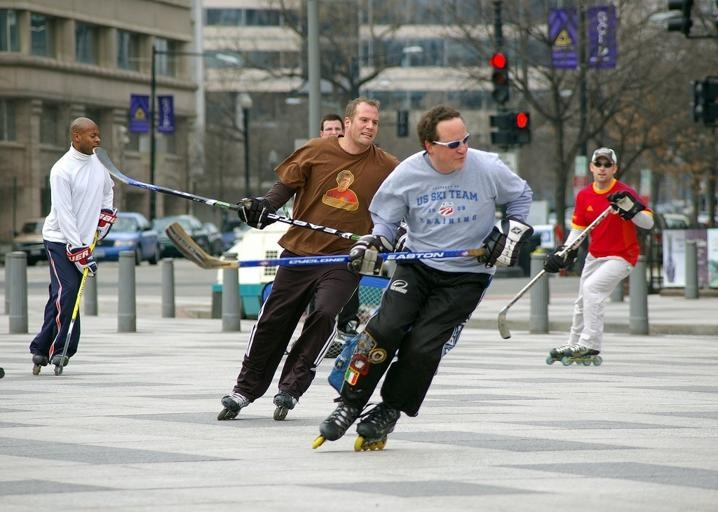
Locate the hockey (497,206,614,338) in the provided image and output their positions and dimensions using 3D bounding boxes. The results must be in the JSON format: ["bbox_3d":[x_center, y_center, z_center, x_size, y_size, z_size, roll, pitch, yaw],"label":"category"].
[{"bbox_3d":[2.643,0.284,19.555,0.445,2.834,0.313,25,27,-34],"label":"hockey"}]

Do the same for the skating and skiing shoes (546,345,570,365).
[{"bbox_3d":[2.184,1.089,16.169,0.359,0.176,0.121,-5,9,-6],"label":"skating and skiing shoes"}]

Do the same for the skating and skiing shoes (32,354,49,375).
[{"bbox_3d":[-3.343,1.124,15.107,0.165,0.198,0.200,7,-16,-12],"label":"skating and skiing shoes"}]

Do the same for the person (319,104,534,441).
[{"bbox_3d":[0.546,0.205,11.917,1.611,2.682,0.983,6,5,-5],"label":"person"}]

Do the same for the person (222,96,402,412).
[{"bbox_3d":[-0.441,0.010,12.982,1.476,2.936,1.048,13,0,5],"label":"person"}]

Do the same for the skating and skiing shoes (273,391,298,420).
[{"bbox_3d":[-0.661,1.309,12.869,0.208,0.254,0.292,1,1,-4],"label":"skating and skiing shoes"}]

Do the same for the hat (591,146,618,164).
[{"bbox_3d":[2.733,-1.133,16.262,0.252,0.172,0.259,1,1,4],"label":"hat"}]

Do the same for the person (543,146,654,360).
[{"bbox_3d":[2.688,0.000,16.137,1.239,2.397,1.461,1,-1,-4],"label":"person"}]

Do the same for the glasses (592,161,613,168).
[{"bbox_3d":[2.718,-1.035,16.194,0.202,0.077,0.060,1,1,7],"label":"glasses"}]

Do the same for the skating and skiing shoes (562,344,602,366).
[{"bbox_3d":[2.560,1.109,16.126,0.591,0.231,0.176,4,-3,-13],"label":"skating and skiing shoes"}]

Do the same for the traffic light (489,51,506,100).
[{"bbox_3d":[2.448,-3.167,25.494,0.330,0.817,1.055,1,1,5],"label":"traffic light"}]

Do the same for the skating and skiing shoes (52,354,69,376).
[{"bbox_3d":[-3.102,1.097,14.983,0.095,0.254,0.116,11,-3,-43],"label":"skating and skiing shoes"}]

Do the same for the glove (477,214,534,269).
[{"bbox_3d":[1.161,-0.115,11.728,0.320,0.445,0.180,45,-10,-6],"label":"glove"}]

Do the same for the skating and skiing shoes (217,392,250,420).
[{"bbox_3d":[-1.119,1.310,12.726,0.181,0.131,0.377,-19,-13,-6],"label":"skating and skiing shoes"}]

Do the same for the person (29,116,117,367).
[{"bbox_3d":[-3.006,-0.074,15.364,0.862,2.736,0.960,4,8,-7],"label":"person"}]
